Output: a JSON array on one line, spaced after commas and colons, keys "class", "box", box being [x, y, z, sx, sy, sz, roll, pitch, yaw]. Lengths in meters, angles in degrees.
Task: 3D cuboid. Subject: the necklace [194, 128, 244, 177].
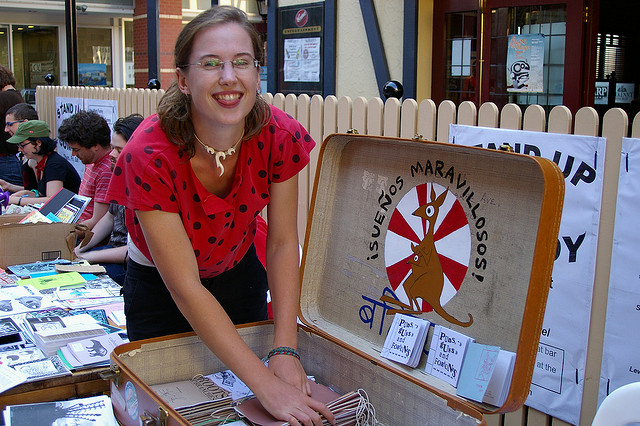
[{"class": "necklace", "box": [-0.377, -0.231, 1.757, 0.146, 0.175, 0.013, -7, 22, -20]}]

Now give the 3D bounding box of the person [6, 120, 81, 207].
[{"class": "person", "box": [-3.195, -0.543, 5.773, 0.961, 1.407, 0.836, 2, -2, -37]}]

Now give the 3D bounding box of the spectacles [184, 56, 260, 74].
[{"class": "spectacles", "box": [-0.340, -0.522, 1.680, 0.256, 0.058, 0.099, -9, 16, -17]}]

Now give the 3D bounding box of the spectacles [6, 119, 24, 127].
[{"class": "spectacles", "box": [-4.069, -1.209, 6.389, 0.261, 0.086, 0.062, -1, 14, 12]}]
